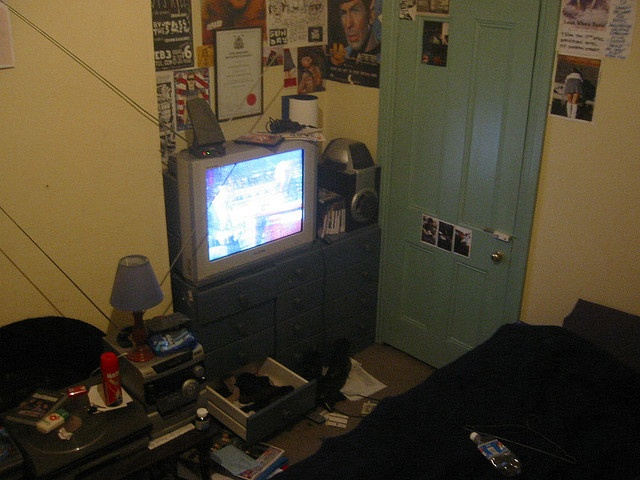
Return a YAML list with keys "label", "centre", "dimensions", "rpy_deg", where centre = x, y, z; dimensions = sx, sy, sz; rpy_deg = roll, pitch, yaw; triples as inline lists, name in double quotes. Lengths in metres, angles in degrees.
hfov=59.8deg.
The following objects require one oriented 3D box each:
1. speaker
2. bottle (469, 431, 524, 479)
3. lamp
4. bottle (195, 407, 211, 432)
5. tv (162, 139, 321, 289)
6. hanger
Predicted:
- label: "speaker"
  centre: [0.201, -0.394, 4.018]
  dimensions: [0.324, 0.627, 0.463]
  rpy_deg: [-19, 32, -32]
- label: "bottle"
  centre: [0.651, 0.783, 2.043]
  dimensions: [0.081, 0.042, 0.166]
  rpy_deg: [-13, 25, -21]
- label: "lamp"
  centre: [-1.003, 0.359, 3.016]
  dimensions: [0.253, 0.531, 0.294]
  rpy_deg: [-18, 32, -29]
- label: "bottle"
  centre: [-0.652, 1.015, 3.142]
  dimensions: [0.101, 0.109, 0.108]
  rpy_deg: [1, 4, -3]
- label: "tv"
  centre: [-0.532, -0.180, 3.440]
  dimensions: [0.763, 0.626, 0.403]
  rpy_deg: [-24, 47, -33]
- label: "hanger"
  centre: [0.757, 0.748, 2.104]
  dimensions: [0.329, 0.037, 0.142]
  rpy_deg: [21, 50, 37]
